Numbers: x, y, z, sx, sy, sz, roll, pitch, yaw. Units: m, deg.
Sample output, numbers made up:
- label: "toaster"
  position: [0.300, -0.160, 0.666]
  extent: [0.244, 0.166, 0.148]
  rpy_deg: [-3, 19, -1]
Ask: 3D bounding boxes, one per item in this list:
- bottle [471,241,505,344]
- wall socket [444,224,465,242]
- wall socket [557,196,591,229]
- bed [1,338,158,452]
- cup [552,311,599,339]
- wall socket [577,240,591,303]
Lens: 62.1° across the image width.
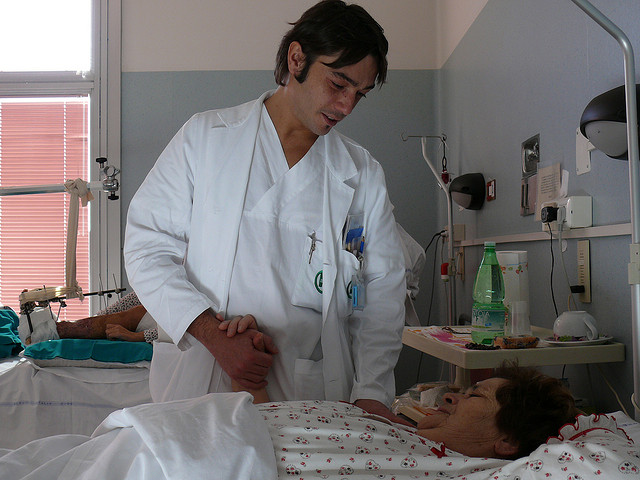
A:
- label: "bottle"
  position: [0.737, 0.231, 2.358]
  extent: [0.140, 0.391, 0.236]
  rpy_deg: [-2, -1, 20]
- label: "wall socket"
  position: [0.900, -0.041, 3.583]
  extent: [0.084, 0.161, 0.179]
  rpy_deg: [0, -4, -3]
- label: "wall socket"
  position: [1.102, -0.108, 2.331]
  extent: [0.088, 0.160, 0.174]
  rpy_deg: [-1, -5, 4]
- label: "bed"
  position: [-1.316, 0.754, 2.909]
  extent: [0.760, 0.443, 0.821]
  rpy_deg: [-1, 0, -7]
- label: "cup"
  position: [1.006, 0.335, 2.136]
  extent: [0.095, 0.096, 0.130]
  rpy_deg: [-2, -2, -8]
- label: "wall socket"
  position: [1.114, 0.133, 2.269]
  extent: [0.011, 0.165, 0.082]
  rpy_deg: [-5, 2, -12]
